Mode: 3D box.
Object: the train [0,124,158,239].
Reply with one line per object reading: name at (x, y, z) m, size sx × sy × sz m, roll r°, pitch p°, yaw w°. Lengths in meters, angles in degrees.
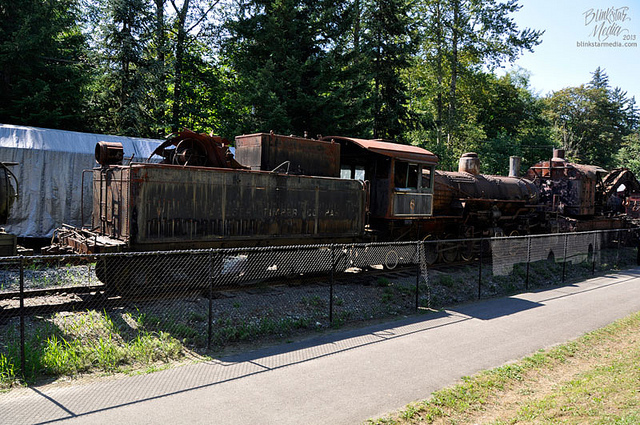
train at (-9.682, -1.066, 19.185) m, size 5.081 × 2.884 × 1.775 m, roll 3°, pitch 0°, yaw -43°
